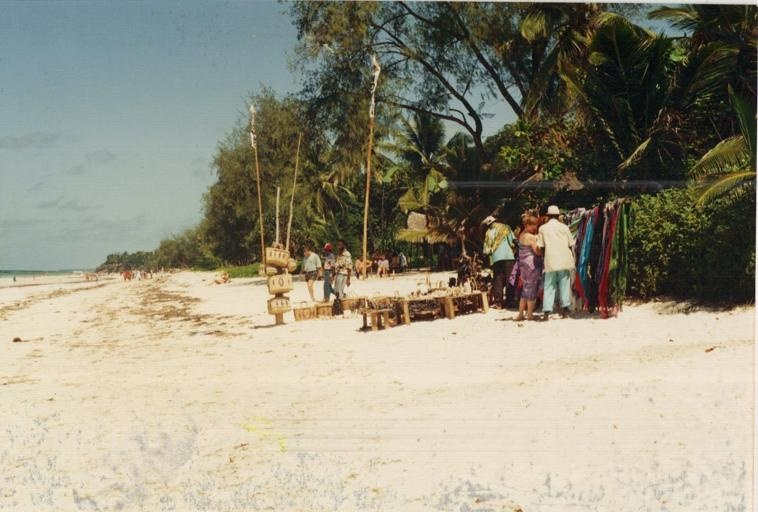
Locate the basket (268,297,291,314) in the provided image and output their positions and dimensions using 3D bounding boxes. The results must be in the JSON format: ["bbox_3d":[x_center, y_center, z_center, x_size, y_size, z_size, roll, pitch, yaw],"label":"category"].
[{"bbox_3d":[-2.498,1.251,20.175,0.418,0.303,0.440,-9,-8,25],"label":"basket"}]

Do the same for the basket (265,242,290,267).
[{"bbox_3d":[-2.482,0.003,19.858,0.412,0.266,0.582,0,-20,-4],"label":"basket"}]

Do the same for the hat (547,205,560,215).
[{"bbox_3d":[4.180,-1.077,19.194,0.250,0.251,0.386,-1,-4,7],"label":"hat"}]

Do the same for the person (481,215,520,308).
[{"bbox_3d":[3.147,0.152,20.686,0.840,1.779,0.877,-3,-2,8],"label":"person"}]

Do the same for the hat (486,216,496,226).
[{"bbox_3d":[2.851,-0.885,20.634,0.323,0.190,0.491,-3,-2,8],"label":"hat"}]
